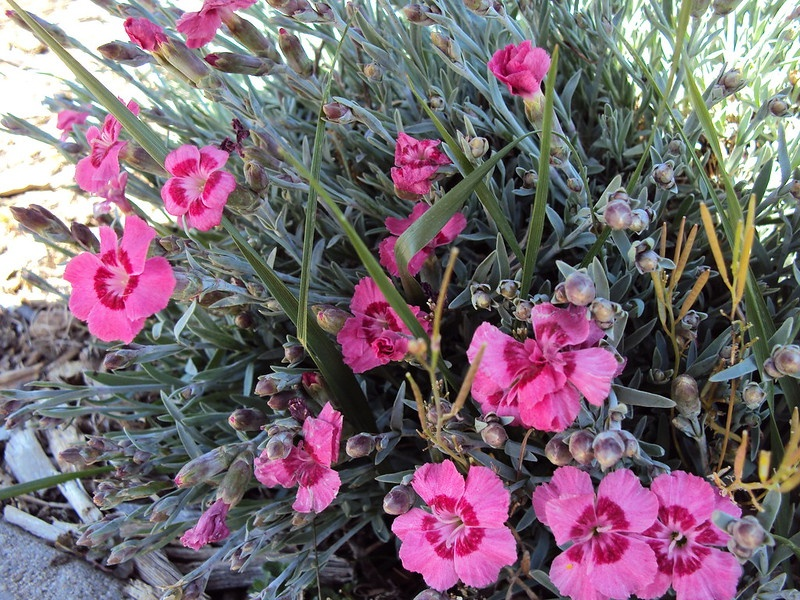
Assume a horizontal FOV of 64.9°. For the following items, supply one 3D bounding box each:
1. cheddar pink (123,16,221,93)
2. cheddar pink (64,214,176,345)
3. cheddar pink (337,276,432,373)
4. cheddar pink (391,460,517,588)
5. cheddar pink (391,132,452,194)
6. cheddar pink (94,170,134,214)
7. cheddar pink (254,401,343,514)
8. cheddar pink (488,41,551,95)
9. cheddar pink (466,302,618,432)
[{"bbox_3d":[-0.517,-0.554,1.443,0.151,0.204,0.088,1,38,27],"label":"cheddar pink"},{"bbox_3d":[-0.635,-0.032,1.533,0.298,0.318,0.101,-13,-10,32],"label":"cheddar pink"},{"bbox_3d":[-0.042,0.060,1.558,0.207,0.160,0.181,3,40,30],"label":"cheddar pink"},{"bbox_3d":[0.132,0.510,1.453,0.266,0.104,0.280,-27,34,-10],"label":"cheddar pink"},{"bbox_3d":[0.043,-0.342,1.520,0.147,0.066,0.136,24,67,17],"label":"cheddar pink"},{"bbox_3d":[-0.761,-0.287,1.686,0.060,0.131,0.131,15,20,-22],"label":"cheddar pink"},{"bbox_3d":[-0.202,0.372,1.495,0.230,0.252,0.095,-17,1,27],"label":"cheddar pink"},{"bbox_3d":[0.288,-0.535,1.499,0.095,0.129,0.135,-3,40,-31],"label":"cheddar pink"},{"bbox_3d":[0.311,0.148,1.342,0.272,0.265,0.216,14,45,39],"label":"cheddar pink"}]
